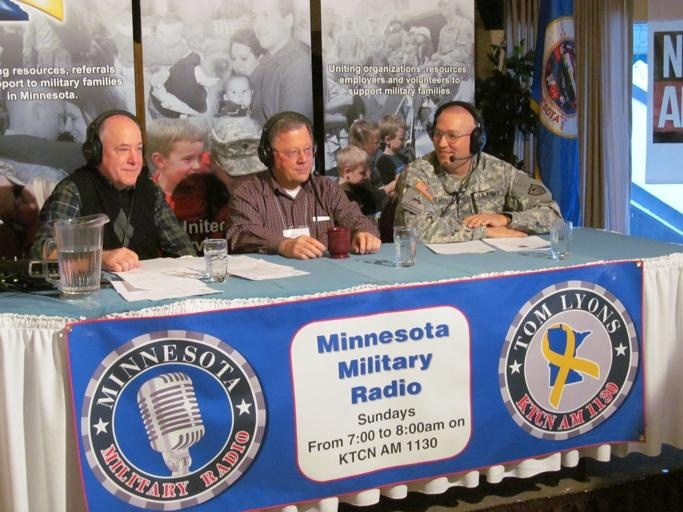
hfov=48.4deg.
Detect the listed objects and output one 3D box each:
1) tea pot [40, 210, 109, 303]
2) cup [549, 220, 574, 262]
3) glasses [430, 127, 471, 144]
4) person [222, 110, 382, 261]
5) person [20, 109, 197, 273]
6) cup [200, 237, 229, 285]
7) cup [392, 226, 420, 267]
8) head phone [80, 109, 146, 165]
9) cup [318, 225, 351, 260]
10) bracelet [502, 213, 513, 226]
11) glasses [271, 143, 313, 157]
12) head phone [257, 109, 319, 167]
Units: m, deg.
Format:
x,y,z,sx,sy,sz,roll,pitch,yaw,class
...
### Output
x,y,z,sx,sy,sz,roll,pitch,yaw,class
-1.031,-0.001,3.040,0.216,0.305,0.164,-11,11,-34,tea pot
0.986,-0.081,3.397,0.108,0.184,0.111,-5,13,1,cup
0.622,-0.678,4.229,0.256,0.105,0.124,-2,9,20,glasses
-0.210,-0.183,4.239,0.791,1.138,0.784,-3,20,-15,person
-1.220,-0.195,4.130,0.795,1.125,0.637,-9,25,-40,person
-0.530,0.013,3.203,0.103,0.174,0.104,1,7,0,cup
0.287,-0.036,3.380,0.111,0.186,0.117,1,-14,0,cup
-1.237,-0.643,4.130,0.119,0.302,0.322,21,12,30,head phone
-0.008,-0.064,3.568,0.115,0.144,0.119,-1,6,0,cup
0.877,-0.200,4.016,0.054,0.046,0.058,0,3,-5,bracelet
-0.257,-0.570,4.143,0.226,0.068,0.081,-9,10,-19,glasses
-0.314,-0.662,4.271,0.411,0.397,0.162,-10,19,-28,head phone
